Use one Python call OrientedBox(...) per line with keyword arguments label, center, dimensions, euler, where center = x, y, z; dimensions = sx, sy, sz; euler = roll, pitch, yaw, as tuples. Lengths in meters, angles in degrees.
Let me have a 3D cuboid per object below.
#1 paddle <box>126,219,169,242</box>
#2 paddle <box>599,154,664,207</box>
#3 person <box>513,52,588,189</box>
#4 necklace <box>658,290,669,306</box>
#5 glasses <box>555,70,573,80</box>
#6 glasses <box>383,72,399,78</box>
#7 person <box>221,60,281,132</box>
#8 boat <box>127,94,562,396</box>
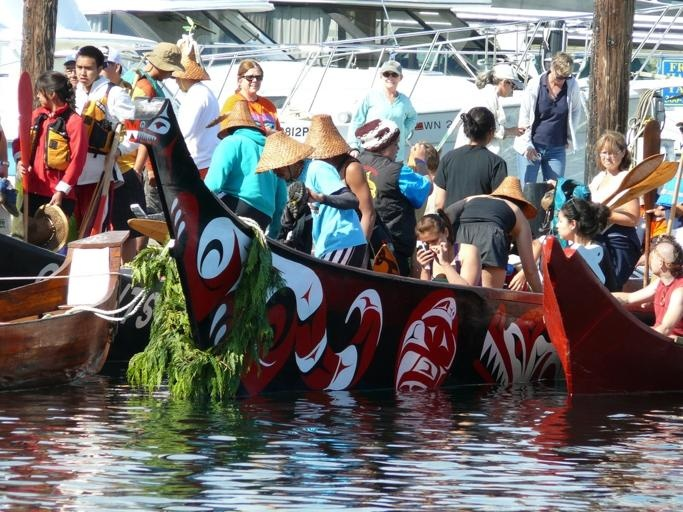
OrientedBox(label="paddle", center=(-1.456, -0.204, 8.038), dimensions=(0.273, 0.085, 0.280), euler=(9, -19, 27))
OrientedBox(label="paddle", center=(2.635, -0.711, 9.658), dimensions=(0.862, 0.156, 0.076), euler=(-39, -44, 17))
OrientedBox(label="person", center=(2.379, -1.279, 11.956), dimensions=(0.633, 1.971, 0.527), euler=(-4, 32, 4))
OrientedBox(label="necklace", center=(2.575, 0.326, 8.432), dimensions=(0.065, 0.093, 0.099), euler=(3, -8, 11))
OrientedBox(label="glasses", center=(2.446, -2.014, 11.624), dimensions=(0.156, 0.087, 0.337), euler=(4, 8, 13))
OrientedBox(label="glasses", center=(0.535, -1.988, 11.415), dimensions=(0.175, 0.065, 0.079), euler=(2, 8, 0))
OrientedBox(label="person", center=(-0.936, -1.574, 10.758), dimensions=(0.613, 0.865, 0.445), euler=(3, -16, -29))
OrientedBox(label="boat", center=(0.310, 0.262, 8.601), dimensions=(1.105, 1.891, 4.891), euler=(7, -3, 43))
